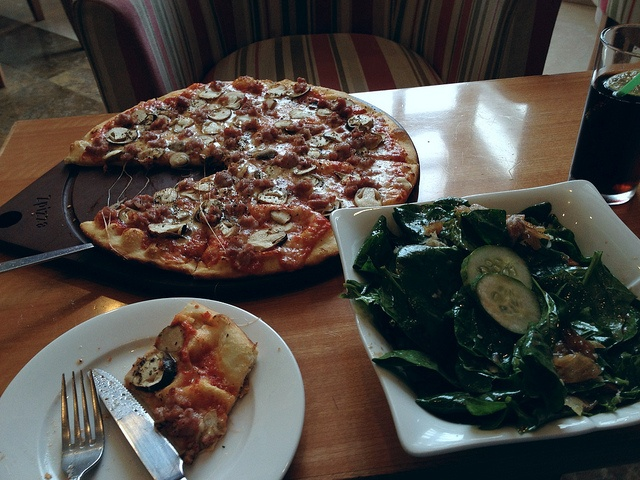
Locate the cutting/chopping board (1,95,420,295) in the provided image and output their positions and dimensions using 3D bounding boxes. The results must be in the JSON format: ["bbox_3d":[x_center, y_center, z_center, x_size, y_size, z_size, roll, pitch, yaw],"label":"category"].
[{"bbox_3d":[-0.238,-0.082,1.587,0.837,0.062,0.607,-16,38,-15],"label":"cutting/chopping board"}]
